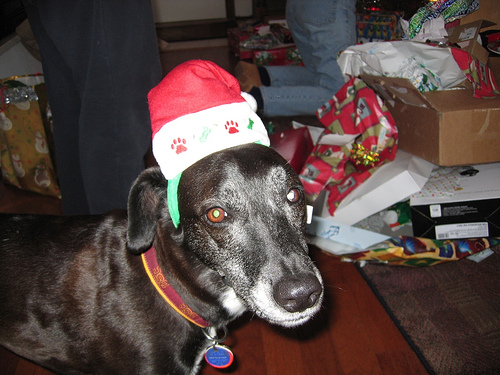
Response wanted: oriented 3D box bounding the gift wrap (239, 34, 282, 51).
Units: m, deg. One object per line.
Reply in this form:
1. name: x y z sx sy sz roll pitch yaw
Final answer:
1. gift wrap: 0.116 -1.904 5.633 0.376 0.159 0.262 6 38 15

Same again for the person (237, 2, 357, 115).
1. person: 0.397 -1.206 3.928 1.025 0.939 0.879 -7 36 -1
